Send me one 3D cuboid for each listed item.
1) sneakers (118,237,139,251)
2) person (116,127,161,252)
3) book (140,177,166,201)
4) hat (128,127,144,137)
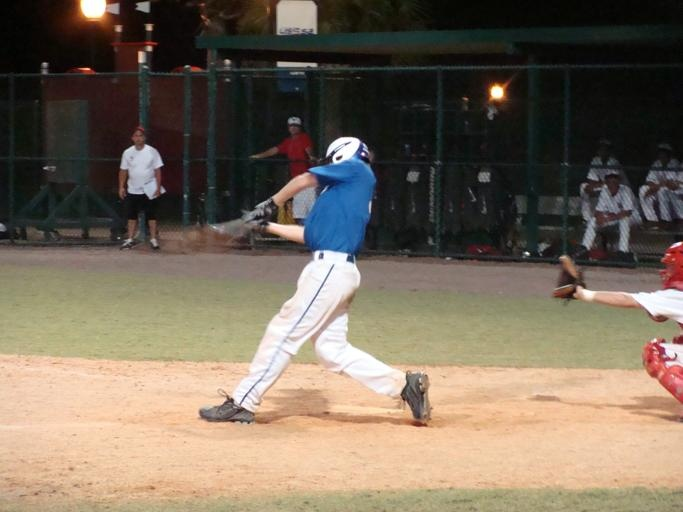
[{"bbox_3d":[-3.834,-0.233,21.694,0.441,0.166,0.146,3,30,-10],"label":"sneakers"},{"bbox_3d":[-3.621,-1.224,21.536,0.779,2.255,1.057,-1,12,-10],"label":"person"},{"bbox_3d":[-3.397,-1.245,21.214,0.108,0.332,0.355,2,31,48],"label":"book"},{"bbox_3d":[-3.561,-2.175,21.004,0.168,0.187,0.221,1,19,-44],"label":"hat"}]
